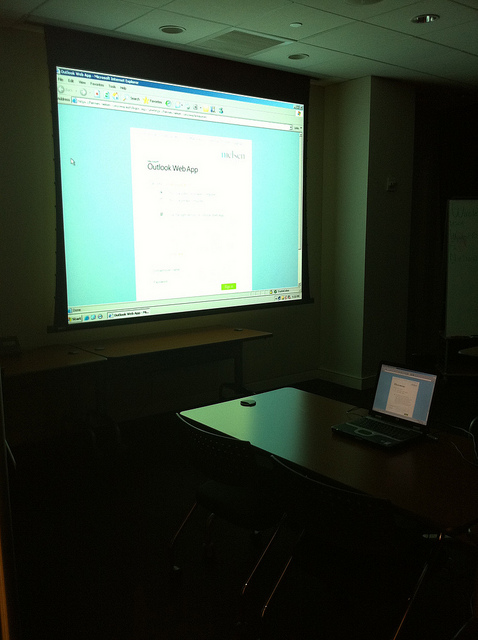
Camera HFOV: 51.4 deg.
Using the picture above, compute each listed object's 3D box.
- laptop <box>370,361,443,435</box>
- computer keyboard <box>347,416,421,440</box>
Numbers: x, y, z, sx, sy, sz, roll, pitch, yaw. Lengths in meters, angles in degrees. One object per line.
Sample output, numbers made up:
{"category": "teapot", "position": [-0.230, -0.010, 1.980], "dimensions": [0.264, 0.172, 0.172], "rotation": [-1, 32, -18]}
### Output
{"category": "laptop", "position": [0.705, 0.313, 2.101], "dimensions": [0.226, 0.280, 0.294], "rotation": [15, -5, -37]}
{"category": "computer keyboard", "position": [0.591, 0.447, 2.057], "dimensions": [0.112, 0.006, 0.303], "rotation": [-10, 11, -37]}
